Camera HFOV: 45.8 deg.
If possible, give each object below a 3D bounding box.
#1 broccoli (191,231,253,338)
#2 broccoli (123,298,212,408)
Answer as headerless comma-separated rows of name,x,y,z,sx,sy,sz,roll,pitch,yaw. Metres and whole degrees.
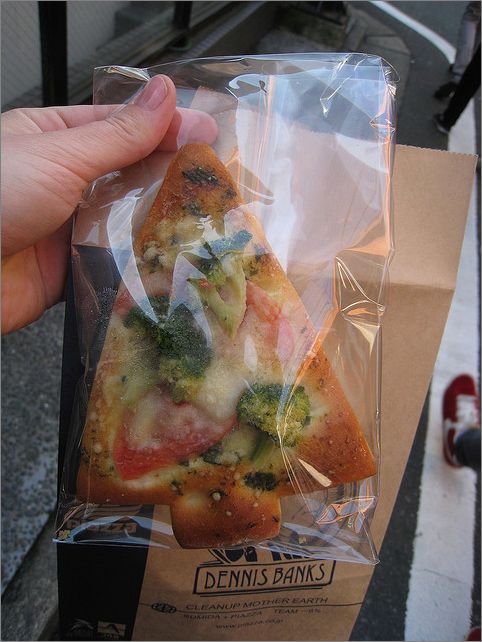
broccoli,-0.034,-0.061,0.935,0.105,0.144,0.082,2,29,-7
broccoli,-0.112,0.046,0.890,0.117,0.044,0.166,-26,83,6
